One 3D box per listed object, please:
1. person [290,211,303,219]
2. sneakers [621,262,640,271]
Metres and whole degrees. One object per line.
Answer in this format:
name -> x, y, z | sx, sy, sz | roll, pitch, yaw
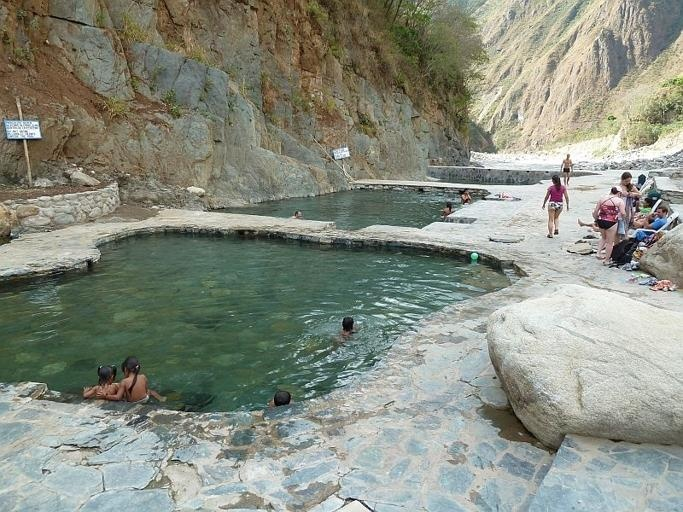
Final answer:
person -> -2.141, -1.881, 17.092 | 0.532, 0.341, 0.796 | -28, 19, -26
sneakers -> 7.163, 0.266, 9.150 | 0.282, 0.095, 0.267 | 4, 14, 35
